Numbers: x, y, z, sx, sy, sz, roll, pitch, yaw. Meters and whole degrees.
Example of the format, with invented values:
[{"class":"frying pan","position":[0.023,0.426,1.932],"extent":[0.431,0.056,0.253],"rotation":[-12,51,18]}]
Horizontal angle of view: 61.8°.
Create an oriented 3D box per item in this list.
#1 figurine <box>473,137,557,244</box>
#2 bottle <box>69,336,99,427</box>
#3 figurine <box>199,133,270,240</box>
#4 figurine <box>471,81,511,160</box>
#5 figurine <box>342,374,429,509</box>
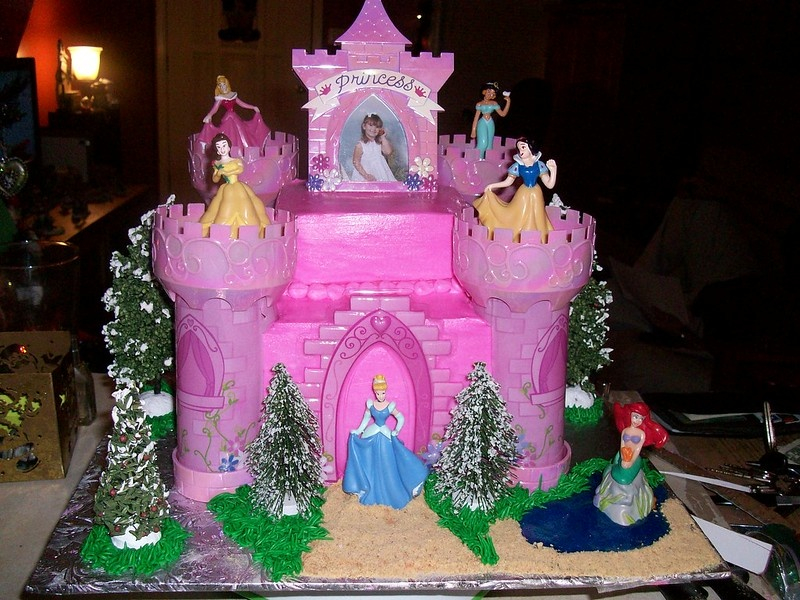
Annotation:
[{"class":"figurine","position":[0.506,-0.447,2.858],"extent":[0.341,0.455,0.256],"rotation":[0,0,22]},{"class":"bottle","position":[-1.746,0.435,3.586],"extent":[0.185,0.456,0.191],"rotation":[-6,-5,-1]},{"class":"figurine","position":[-0.689,-0.465,2.698],"extent":[0.292,0.384,0.363],"rotation":[-12,20,-43]},{"class":"figurine","position":[0.539,-1.036,4.002],"extent":[0.206,0.540,0.116],"rotation":[11,41,16]},{"class":"figurine","position":[-0.073,0.581,2.825],"extent":[0.377,0.557,0.297],"rotation":[3,14,5]}]
